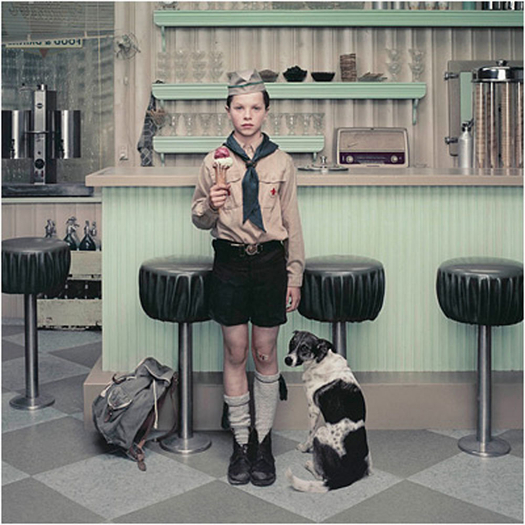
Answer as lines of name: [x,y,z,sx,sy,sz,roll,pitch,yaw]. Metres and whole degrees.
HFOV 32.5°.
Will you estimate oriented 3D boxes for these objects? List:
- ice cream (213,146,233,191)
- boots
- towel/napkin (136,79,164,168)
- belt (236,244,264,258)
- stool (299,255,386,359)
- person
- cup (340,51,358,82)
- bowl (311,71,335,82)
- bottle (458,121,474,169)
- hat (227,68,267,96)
ice cream: [-0.166,-0.394,3.702,0.069,0.152,0.182,-1,13,-2]
boots: [-0.050,0.840,3.849,0.156,0.151,0.324,0,-2,1]
towel/napkin: [-0.792,-0.938,6.381,0.234,0.518,0.206,3,11,17]
belt: [-0.064,-0.049,3.747,0.115,0.051,0.019,0,10,3]
stool: [0.354,0.196,3.978,0.278,0.434,0.333,-1,6,-3]
person: [-0.059,0.063,3.795,0.478,1.695,0.348,-1,10,-4]
cup: [0.600,-1.366,6.322,0.140,0.294,0.157,-2,7,-7]
bowl: [0.431,-1.305,6.346,0.179,0.073,0.215,-3,14,-7]
bottle: [1.133,-0.636,4.990,0.082,0.246,0.395,2,14,13]
hat: [-0.077,-0.755,3.752,0.116,0.083,0.102,5,14,28]
